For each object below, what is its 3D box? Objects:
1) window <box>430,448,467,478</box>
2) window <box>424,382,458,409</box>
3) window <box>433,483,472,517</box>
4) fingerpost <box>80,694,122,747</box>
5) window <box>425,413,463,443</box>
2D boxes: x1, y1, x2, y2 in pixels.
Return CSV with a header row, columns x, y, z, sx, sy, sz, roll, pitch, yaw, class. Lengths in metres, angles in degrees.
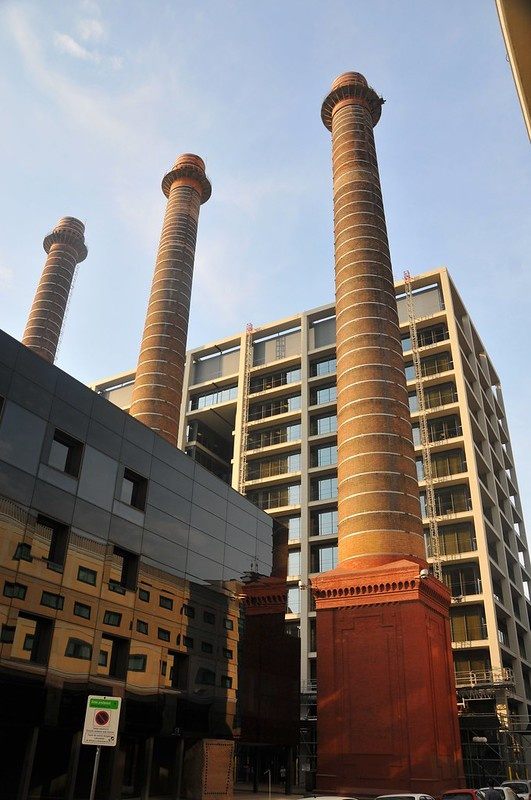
x,y,z,sx,sy,sz,roll,pitch,yaw,class
16.744,5.774,50.285,1.926,1.999,1.045,-14,-35,30,window
16.891,-0.356,52.977,1.790,1.844,1.032,-18,-42,31,window
16.565,8.870,48.792,2.049,2.128,1.170,-18,-38,32,window
-2.407,4.741,8.166,0.483,0.655,0.703,10,-32,-13,fingerpost
16.765,2.681,51.788,1.853,1.909,1.031,-20,-41,33,window
